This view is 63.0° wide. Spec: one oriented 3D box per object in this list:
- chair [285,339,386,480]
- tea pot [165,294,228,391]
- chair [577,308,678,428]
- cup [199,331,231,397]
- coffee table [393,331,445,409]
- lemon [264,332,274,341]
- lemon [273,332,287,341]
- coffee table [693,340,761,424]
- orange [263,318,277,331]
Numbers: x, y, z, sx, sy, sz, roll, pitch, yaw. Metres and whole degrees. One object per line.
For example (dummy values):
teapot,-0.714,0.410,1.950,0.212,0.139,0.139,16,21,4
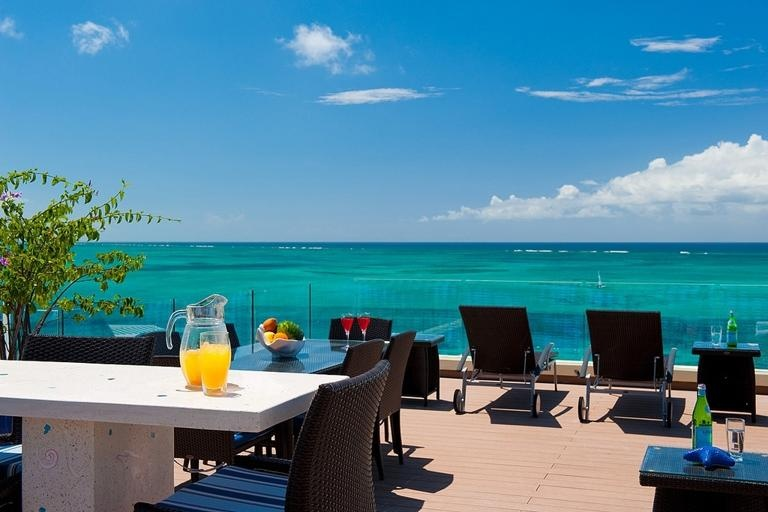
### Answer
chair,-0.268,0.998,4.017,0.721,0.933,0.655,2,5,-11
tea pot,-0.792,0.360,2.804,0.302,0.425,0.261,3,-4,-42
chair,2.446,1.034,6.240,0.777,1.150,0.832,-1,-4,27
cup,-0.700,0.448,2.591,0.097,0.255,0.116,1,8,13
coffee table,0.431,1.160,6.616,0.627,0.867,0.563,4,10,11
lemon,-0.822,0.577,4.493,0.061,0.032,0.057,8,15,-1
lemon,-0.739,0.570,4.484,0.092,0.037,0.071,-2,6,1
coffee table,3.272,1.099,6.388,0.932,0.901,0.921,0,3,23
orange,-0.845,0.519,4.673,0.098,0.086,0.077,-14,17,-14
